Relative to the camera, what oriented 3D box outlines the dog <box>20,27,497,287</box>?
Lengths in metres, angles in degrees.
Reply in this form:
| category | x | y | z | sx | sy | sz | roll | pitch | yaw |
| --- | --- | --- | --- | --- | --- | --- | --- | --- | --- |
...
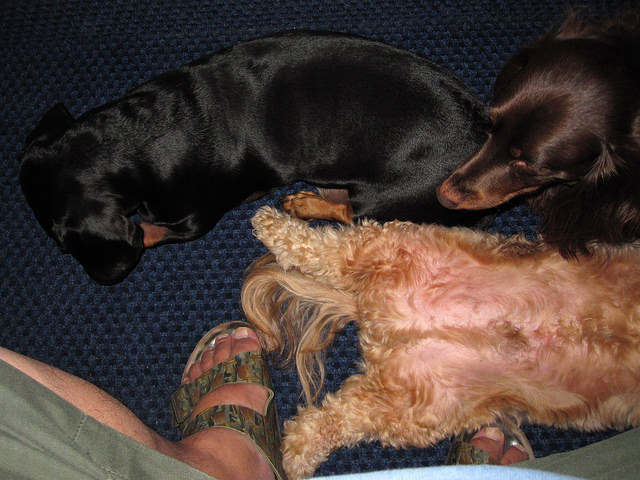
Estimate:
| category | x | y | z | sx | sy | sz | roll | pitch | yaw |
| --- | --- | --- | --- | --- | --- | --- | --- | --- | --- |
| dog | -0.233 | -0.479 | 3.248 | 2.425 | 1.013 | 0.973 | -5 | 63 | -12 |
